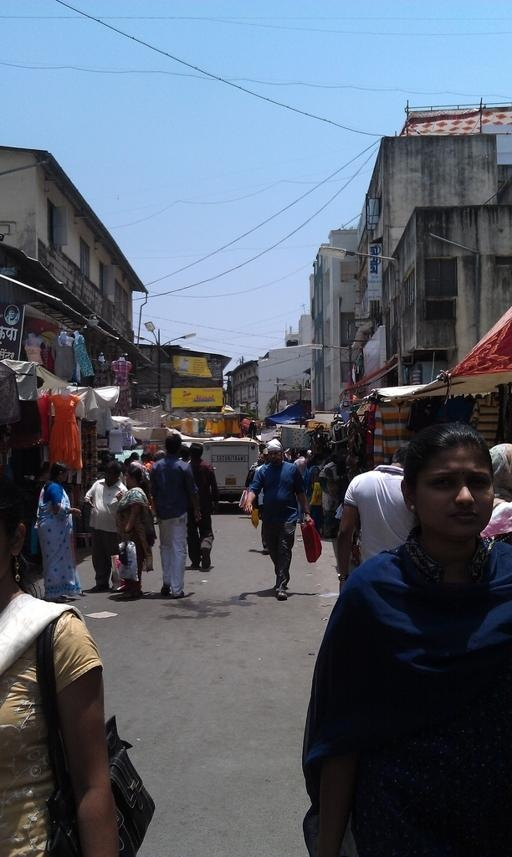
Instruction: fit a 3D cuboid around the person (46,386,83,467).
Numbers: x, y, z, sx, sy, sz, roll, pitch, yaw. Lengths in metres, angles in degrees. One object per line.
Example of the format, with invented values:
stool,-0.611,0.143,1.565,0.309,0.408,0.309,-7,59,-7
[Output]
person,-2.856,0.044,11.855,0.443,1.092,0.319,0,-3,-16
